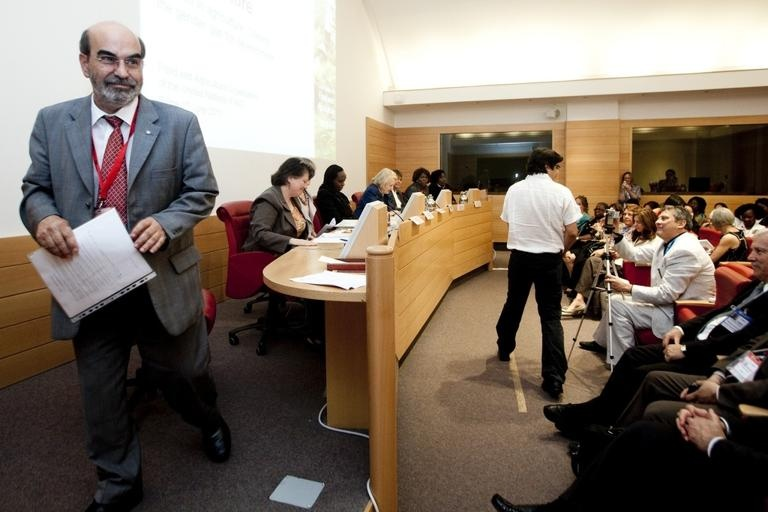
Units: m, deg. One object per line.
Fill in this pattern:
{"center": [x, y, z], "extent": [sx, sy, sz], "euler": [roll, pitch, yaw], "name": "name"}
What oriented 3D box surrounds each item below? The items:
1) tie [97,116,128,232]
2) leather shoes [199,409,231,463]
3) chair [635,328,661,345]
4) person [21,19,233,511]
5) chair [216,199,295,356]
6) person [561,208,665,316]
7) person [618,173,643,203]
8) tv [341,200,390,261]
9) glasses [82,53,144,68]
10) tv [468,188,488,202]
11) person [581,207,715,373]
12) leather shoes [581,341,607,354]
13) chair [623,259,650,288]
{"center": [-1.367, -0.487, 2.561], "extent": [0.140, 0.563, 0.148], "euler": [-2, 14, -4], "name": "tie"}
{"center": [-0.965, 1.081, 2.977], "extent": [0.132, 0.347, 0.131], "euler": [-8, 6, 5], "name": "leather shoes"}
{"center": [2.003, 0.599, 3.882], "extent": [0.136, 0.141, 0.138], "euler": [-3, 5, -37], "name": "chair"}
{"center": [-1.341, 0.028, 2.703], "extent": [0.857, 2.572, 0.589], "euler": [-12, 18, -38], "name": "person"}
{"center": [-1.038, 0.071, 4.496], "extent": [0.772, 1.230, 0.807], "euler": [3, 6, 37], "name": "chair"}
{"center": [2.326, -0.003, 5.163], "extent": [0.801, 1.087, 0.783], "euler": [6, -7, 25], "name": "person"}
{"center": [4.523, -1.471, 9.390], "extent": [0.367, 0.538, 0.705], "euler": [5, 16, 24], "name": "person"}
{"center": [-0.092, -0.137, 3.405], "extent": [0.209, 0.360, 0.427], "euler": [-4, -28, 11], "name": "tv"}
{"center": [-1.304, -1.051, 2.504], "extent": [0.211, 0.066, 0.065], "euler": [-10, 17, -28], "name": "glasses"}
{"center": [1.383, -1.067, 7.630], "extent": [0.200, 0.265, 0.380], "euler": [5, 5, 33], "name": "tv"}
{"center": [2.092, 0.222, 4.063], "extent": [0.936, 1.335, 0.703], "euler": [4, 11, 29], "name": "person"}
{"center": [1.825, 0.780, 4.464], "extent": [0.075, 0.093, 0.221], "euler": [0, 6, -35], "name": "leather shoes"}
{"center": [2.417, 0.113, 4.908], "extent": [0.198, 0.207, 0.206], "euler": [2, 7, -3], "name": "chair"}
